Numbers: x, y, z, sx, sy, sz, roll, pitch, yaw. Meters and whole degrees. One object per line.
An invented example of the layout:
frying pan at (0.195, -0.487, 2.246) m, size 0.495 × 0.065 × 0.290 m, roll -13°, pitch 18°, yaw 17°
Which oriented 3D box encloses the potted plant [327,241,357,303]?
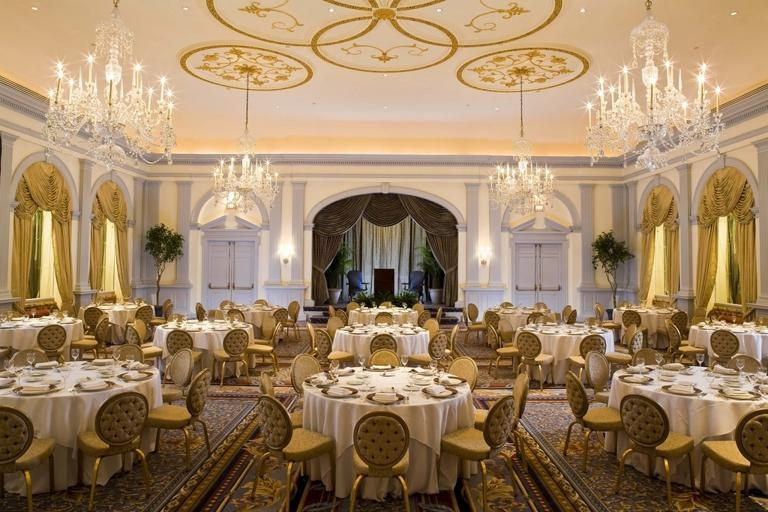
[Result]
potted plant at (-1.793, 0.531, 20.965) m, size 0.983 × 2.751 × 2.950 m, roll -1°, pitch -5°, yaw 5°

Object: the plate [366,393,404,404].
plate at (0.020, 1.738, 6.368) m, size 0.449 × 0.111 × 0.259 m, roll 0°, pitch -6°, yaw -1°

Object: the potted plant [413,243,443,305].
potted plant at (1.817, 0.573, 20.614) m, size 0.984 × 2.723 × 3.307 m, roll 0°, pitch -5°, yaw -3°

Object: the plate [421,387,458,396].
plate at (0.726, 1.724, 6.633) m, size 0.462 × 0.114 × 0.287 m, roll 0°, pitch -6°, yaw -5°

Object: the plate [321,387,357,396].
plate at (-0.560, 1.716, 6.585) m, size 0.453 × 0.104 × 0.306 m, roll 0°, pitch -6°, yaw -5°

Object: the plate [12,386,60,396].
plate at (-4.366, 1.659, 6.438) m, size 0.530 × 0.097 × 0.231 m, roll 1°, pitch -6°, yaw -8°

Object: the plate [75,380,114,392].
plate at (-3.736, 1.661, 6.617) m, size 0.446 × 0.094 × 0.279 m, roll 2°, pitch -7°, yaw -19°

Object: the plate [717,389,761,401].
plate at (4.578, 1.766, 6.634) m, size 0.492 × 0.104 × 0.306 m, roll -1°, pitch -6°, yaw 4°
